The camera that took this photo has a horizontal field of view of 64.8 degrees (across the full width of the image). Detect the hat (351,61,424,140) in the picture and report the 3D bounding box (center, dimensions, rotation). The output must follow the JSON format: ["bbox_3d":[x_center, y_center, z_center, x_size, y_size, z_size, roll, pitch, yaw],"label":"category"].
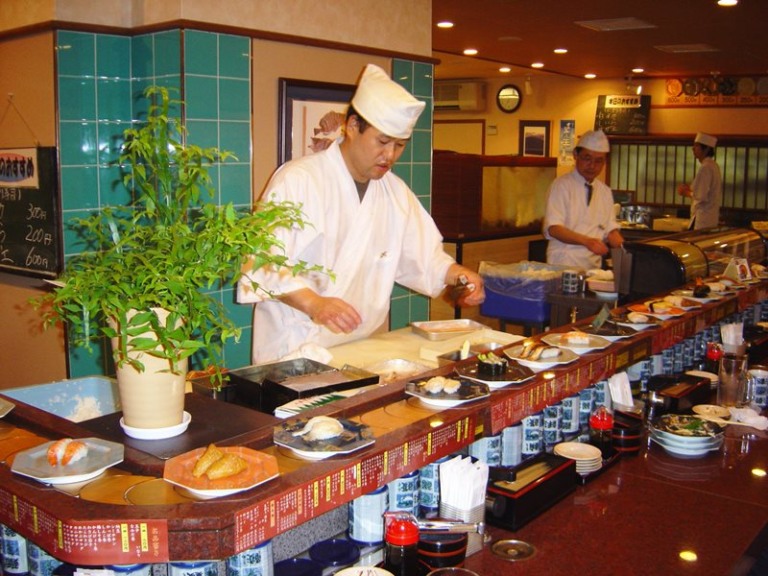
[{"bbox_3d":[-0.050,-0.781,2.598,0.251,0.136,0.358,-26,59,-39],"label":"hat"}]

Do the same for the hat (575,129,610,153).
[{"bbox_3d":[1.803,-1.281,5.294,0.221,0.127,0.273,3,18,6],"label":"hat"}]

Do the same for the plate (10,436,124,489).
[{"bbox_3d":[-0.710,0.392,1.359,0.140,0.017,0.131,0,15,-8],"label":"plate"}]

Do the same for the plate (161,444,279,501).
[{"bbox_3d":[-0.367,0.390,1.354,0.220,0.076,0.207,-8,10,-39],"label":"plate"}]

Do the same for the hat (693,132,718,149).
[{"bbox_3d":[4.655,-2.137,8.784,0.193,0.223,0.489,5,10,38],"label":"hat"}]

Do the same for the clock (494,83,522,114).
[{"bbox_3d":[2.260,-3.459,10.991,0.598,0.607,0.084,6,20,25],"label":"clock"}]
